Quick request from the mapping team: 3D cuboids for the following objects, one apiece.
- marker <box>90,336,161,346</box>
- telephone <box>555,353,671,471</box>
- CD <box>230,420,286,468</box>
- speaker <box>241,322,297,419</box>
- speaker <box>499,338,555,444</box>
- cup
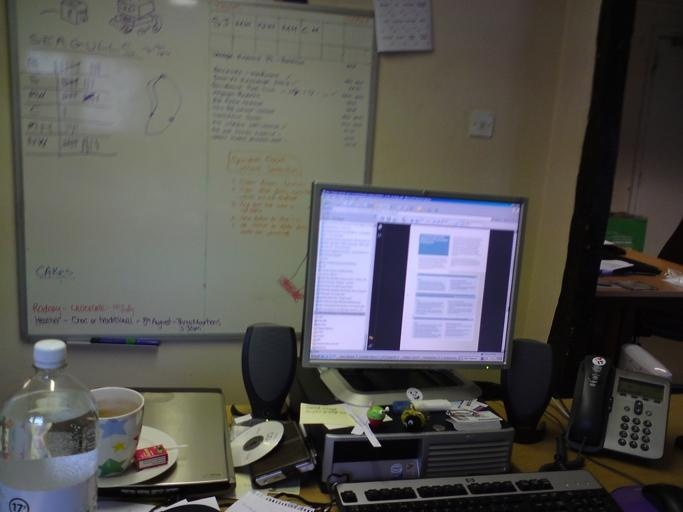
[{"bbox_3d":[-0.922,0.357,2.460,0.201,0.031,0.031,3,2,-7],"label":"marker"},{"bbox_3d":[0.817,0.463,1.733,0.242,0.296,0.112,9,-13,16],"label":"telephone"},{"bbox_3d":[-0.228,0.503,1.573,0.145,0.105,0.139,0,10,-20],"label":"CD"},{"bbox_3d":[-0.220,0.325,1.714,0.154,0.283,0.139,2,11,-16],"label":"speaker"},{"bbox_3d":[0.522,0.397,1.808,0.146,0.302,0.204,4,15,7],"label":"speaker"},{"bbox_3d":[-0.537,0.420,1.418,0.160,0.182,0.183,1,-3,-2],"label":"cup"}]
